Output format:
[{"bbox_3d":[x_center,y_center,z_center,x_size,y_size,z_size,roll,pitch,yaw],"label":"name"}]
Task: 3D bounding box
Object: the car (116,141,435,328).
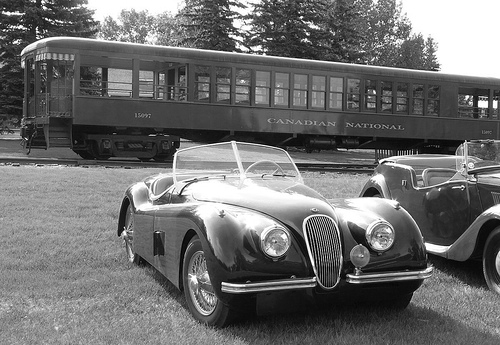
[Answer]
[{"bbox_3d":[0.221,0.599,4.572,2.933,1.689,1.761,7,11,31],"label":"car"}]
